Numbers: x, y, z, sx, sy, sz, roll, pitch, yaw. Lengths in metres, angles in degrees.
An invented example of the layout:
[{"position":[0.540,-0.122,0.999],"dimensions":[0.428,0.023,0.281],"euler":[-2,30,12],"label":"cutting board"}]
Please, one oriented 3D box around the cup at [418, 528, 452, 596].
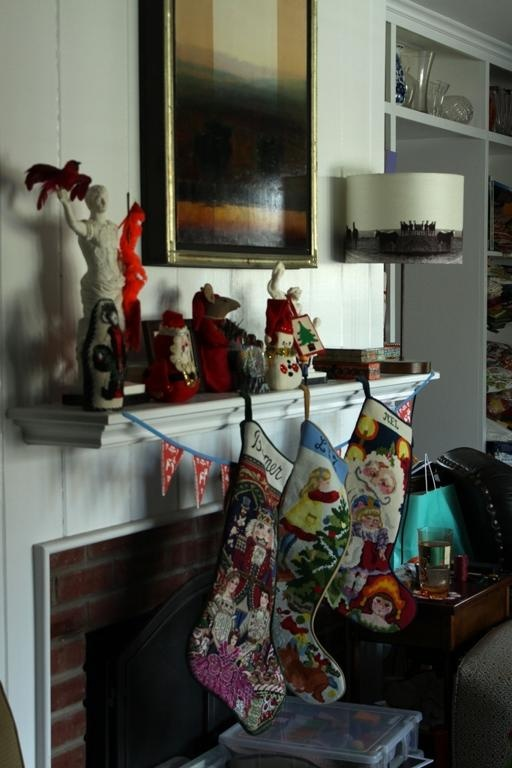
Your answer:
[{"position":[0.410,0.410,1.493],"dimensions":[0.093,0.163,0.101],"euler":[2,-14,1],"label":"cup"}]
